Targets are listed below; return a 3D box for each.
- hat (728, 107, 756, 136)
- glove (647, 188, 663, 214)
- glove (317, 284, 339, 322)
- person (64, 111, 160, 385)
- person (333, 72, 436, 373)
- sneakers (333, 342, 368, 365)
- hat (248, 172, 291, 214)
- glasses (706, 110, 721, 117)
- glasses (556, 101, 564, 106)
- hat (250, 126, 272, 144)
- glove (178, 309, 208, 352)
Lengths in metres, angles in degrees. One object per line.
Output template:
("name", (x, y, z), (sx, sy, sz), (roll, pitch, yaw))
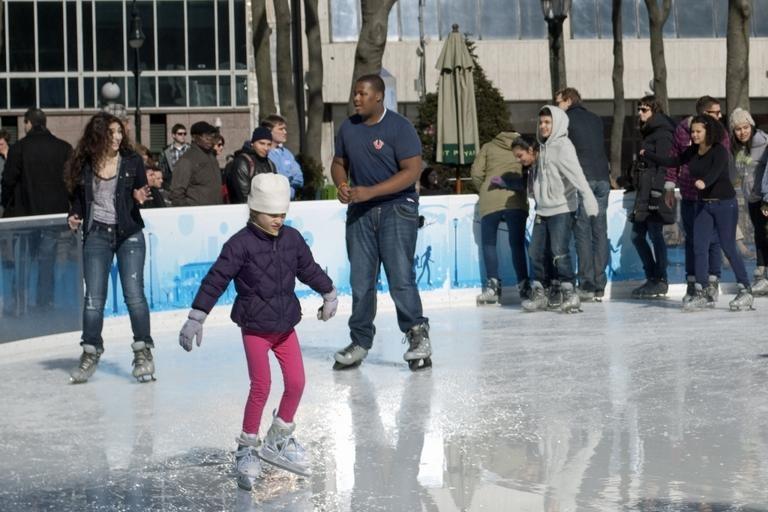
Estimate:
("hat", (4.898, -1.870, 14.236), (0.334, 0.433, 0.415), (-11, 2, 4))
("glove", (3.677, -0.753, 14.239), (0.197, 0.315, 0.090), (-1, -2, 21))
("glove", (-0.480, 0.407, 9.165), (0.224, 0.386, 0.210), (-5, 9, -6))
("person", (-2.829, -0.094, 10.679), (0.865, 2.644, 0.699), (-4, 11, -14))
("person", (-0.050, -0.348, 10.886), (1.041, 2.985, 0.851), (0, 11, 6))
("sneakers", (-0.361, 1.030, 10.846), (0.154, 0.226, 0.432), (39, 18, 19))
("hat", (-0.951, -0.508, 8.613), (0.283, 0.283, 0.332), (0, 16, -15))
("glasses", (4.346, -1.885, 13.916), (0.146, 0.052, 0.150), (3, 0, 42))
("glasses", (2.373, -2.059, 14.234), (0.052, 0.037, 0.072), (-5, -44, 28))
("hat", (-1.512, -1.483, 12.764), (0.190, 0.175, 0.188), (-6, -5, 43))
("glove", (-1.601, 0.599, 8.635), (0.215, 0.339, 0.230), (-10, 15, -35))
